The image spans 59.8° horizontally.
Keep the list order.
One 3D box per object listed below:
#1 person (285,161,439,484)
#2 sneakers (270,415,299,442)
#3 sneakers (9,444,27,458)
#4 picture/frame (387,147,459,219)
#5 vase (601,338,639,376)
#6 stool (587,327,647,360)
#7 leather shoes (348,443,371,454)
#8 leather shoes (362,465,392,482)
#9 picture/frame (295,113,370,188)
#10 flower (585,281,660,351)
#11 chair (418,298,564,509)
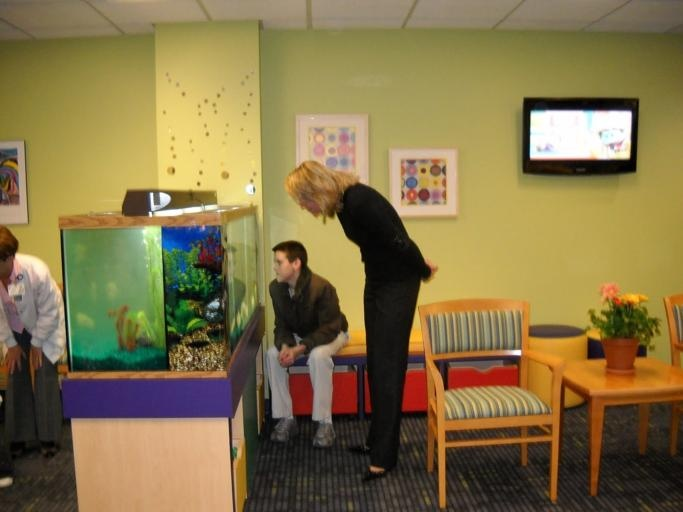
[{"bbox_3d":[0.174,0.377,3.896,0.956,2.013,0.630,-3,1,-29],"label":"person"},{"bbox_3d":[-0.432,1.322,4.470,0.104,0.132,0.268,-4,-18,9],"label":"sneakers"},{"bbox_3d":[-2.337,1.404,4.275,0.054,0.070,0.169,0,-2,-1],"label":"sneakers"},{"bbox_3d":[0.674,-0.647,5.046,0.667,0.736,0.046,-1,6,-2],"label":"picture/frame"},{"bbox_3d":[1.872,0.650,3.983,0.239,0.234,0.245,-3,1,18],"label":"vase"},{"bbox_3d":[2.239,0.757,4.816,0.347,0.306,0.403,0,-7,-1],"label":"stool"},{"bbox_3d":[0.138,1.372,4.259,0.178,0.080,0.063,2,-6,18],"label":"leather shoes"},{"bbox_3d":[0.238,1.440,3.926,0.193,0.076,0.078,3,-15,-32],"label":"leather shoes"},{"bbox_3d":[-0.075,-0.885,4.992,0.546,0.630,0.032,0,-20,-7],"label":"picture/frame"},{"bbox_3d":[1.917,0.436,3.997,0.361,0.463,0.447,4,1,21],"label":"flower"},{"bbox_3d":[0.973,0.919,3.978,0.866,1.223,0.708,-2,6,-4],"label":"chair"}]
